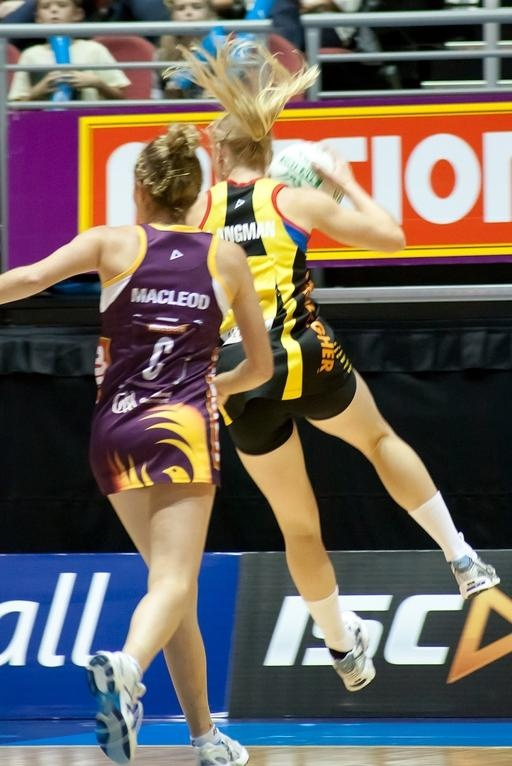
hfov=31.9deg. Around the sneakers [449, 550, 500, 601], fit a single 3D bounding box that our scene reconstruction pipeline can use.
[{"bbox_3d":[0.653,0.566,2.681,0.081,0.121,0.203,-40,-12,9],"label":"sneakers"}]
